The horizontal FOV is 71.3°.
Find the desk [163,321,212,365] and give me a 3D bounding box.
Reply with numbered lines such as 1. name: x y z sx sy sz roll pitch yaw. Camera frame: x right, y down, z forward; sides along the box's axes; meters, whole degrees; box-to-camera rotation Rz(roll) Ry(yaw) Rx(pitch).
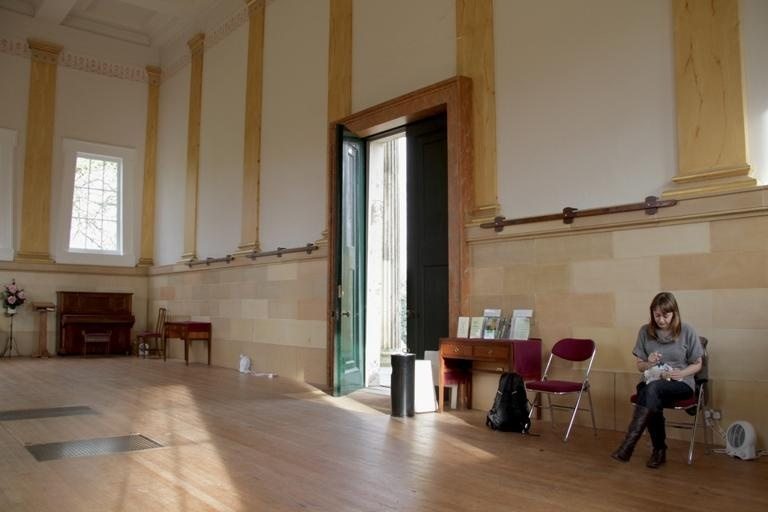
1. desk: -4.241 1.865 11.564 0.942 0.806 0.596 -3 -8 40

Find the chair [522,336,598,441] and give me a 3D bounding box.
1. chair: 1.959 1.467 6.114 0.852 1.045 0.975 -1 -4 28

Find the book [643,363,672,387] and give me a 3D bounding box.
1. book: 2.636 1.147 5.160 0.213 0.075 0.187 -18 10 28

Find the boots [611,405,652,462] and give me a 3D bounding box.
1. boots: 2.326 1.667 5.057 0.328 0.535 0.151 0 -4 23

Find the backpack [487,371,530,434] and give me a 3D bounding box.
1. backpack: 1.408 1.647 6.060 0.473 0.643 0.218 0 -3 12

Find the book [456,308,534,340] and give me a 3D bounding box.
1. book: 1.386 0.860 6.829 0.977 0.384 0.279 -2 -5 35

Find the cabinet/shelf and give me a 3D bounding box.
1. cabinet/shelf: -7.242 1.691 13.377 1.647 1.565 0.910 6 -13 -41

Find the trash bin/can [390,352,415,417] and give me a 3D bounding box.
1. trash bin/can: 0.234 1.611 6.676 0.283 0.767 0.159 1 -3 0

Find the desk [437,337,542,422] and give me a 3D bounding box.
1. desk: 1.292 1.507 6.726 0.523 1.004 1.128 0 -4 -42

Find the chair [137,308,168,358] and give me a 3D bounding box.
1. chair: -5.746 1.865 13.214 0.697 1.166 0.754 1 -4 13
